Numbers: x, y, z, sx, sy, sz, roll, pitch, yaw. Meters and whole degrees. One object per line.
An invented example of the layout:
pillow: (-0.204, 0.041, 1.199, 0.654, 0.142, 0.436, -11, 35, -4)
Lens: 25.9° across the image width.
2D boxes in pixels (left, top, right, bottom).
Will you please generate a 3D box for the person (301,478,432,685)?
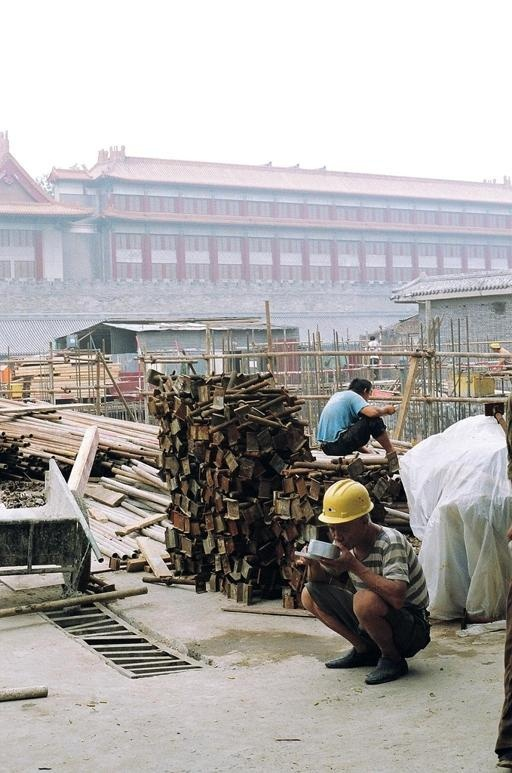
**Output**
person: (0.507, 0.930, 5.467, 0.640, 0.955, 0.512, -2, 6, 10)

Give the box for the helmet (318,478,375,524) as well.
helmet: (0.439, 0.552, 5.423, 0.184, 0.136, 0.247, 4, 12, 40)

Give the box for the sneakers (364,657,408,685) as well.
sneakers: (0.623, 1.347, 5.323, 0.239, 0.086, 0.085, -2, -10, -41)

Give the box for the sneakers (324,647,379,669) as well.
sneakers: (0.490, 1.359, 5.636, 0.292, 0.104, 0.093, -3, -12, 5)
